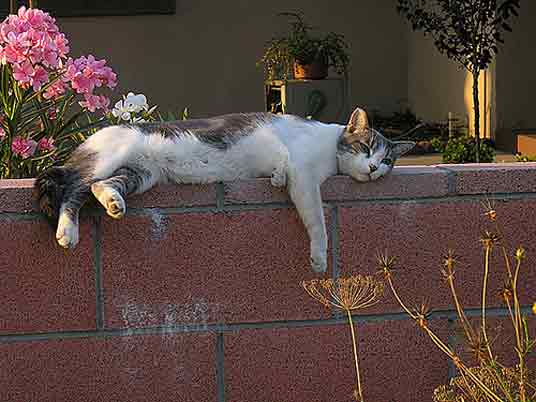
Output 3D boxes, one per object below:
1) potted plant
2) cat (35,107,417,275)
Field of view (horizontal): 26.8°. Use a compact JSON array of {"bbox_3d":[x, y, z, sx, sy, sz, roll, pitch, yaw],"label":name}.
[{"bbox_3d":[0.377,-1.181,8.890,0.840,0.592,0.632,-15,21,-32],"label":"potted plant"},{"bbox_3d":[-0.209,-0.032,5.509,1.750,1.011,0.814,-1,-12,-10],"label":"cat"}]
